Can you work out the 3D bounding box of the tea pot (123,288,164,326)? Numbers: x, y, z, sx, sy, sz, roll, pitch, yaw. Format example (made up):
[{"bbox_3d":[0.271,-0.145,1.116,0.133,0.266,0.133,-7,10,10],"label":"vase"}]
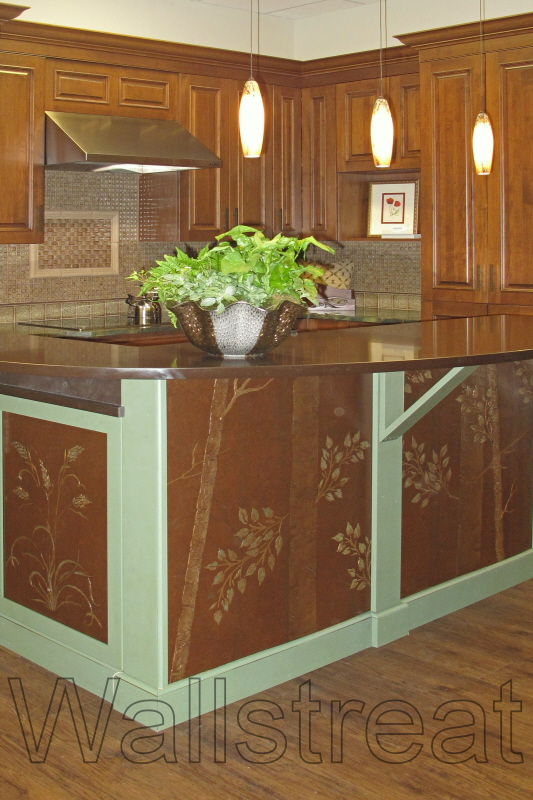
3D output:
[{"bbox_3d":[-0.760,-0.567,4.233,0.214,0.273,0.482,0,0,-10],"label":"tea pot"}]

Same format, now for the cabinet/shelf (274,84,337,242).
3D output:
[{"bbox_3d":[0.366,-1.682,4.796,0.396,1.023,0.167,-1,-2,40],"label":"cabinet/shelf"}]

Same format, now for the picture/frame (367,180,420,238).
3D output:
[{"bbox_3d":[0.880,-1.305,4.621,0.469,0.490,0.033,0,-3,37],"label":"picture/frame"}]
